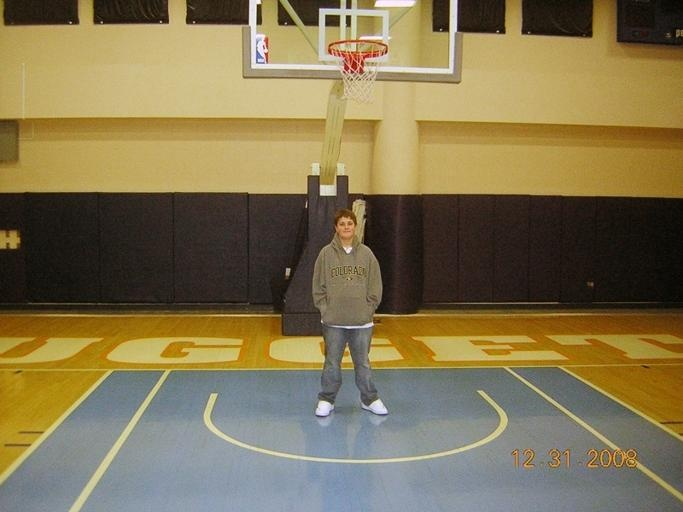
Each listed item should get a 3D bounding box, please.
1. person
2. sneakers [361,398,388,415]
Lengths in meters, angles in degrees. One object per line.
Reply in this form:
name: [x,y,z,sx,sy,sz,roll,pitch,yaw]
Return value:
person: [0.083,0.617,5.772,0.745,2.157,0.362,0,8,-2]
sneakers: [0.356,1.596,5.928,0.132,0.113,0.258,4,-5,-44]
